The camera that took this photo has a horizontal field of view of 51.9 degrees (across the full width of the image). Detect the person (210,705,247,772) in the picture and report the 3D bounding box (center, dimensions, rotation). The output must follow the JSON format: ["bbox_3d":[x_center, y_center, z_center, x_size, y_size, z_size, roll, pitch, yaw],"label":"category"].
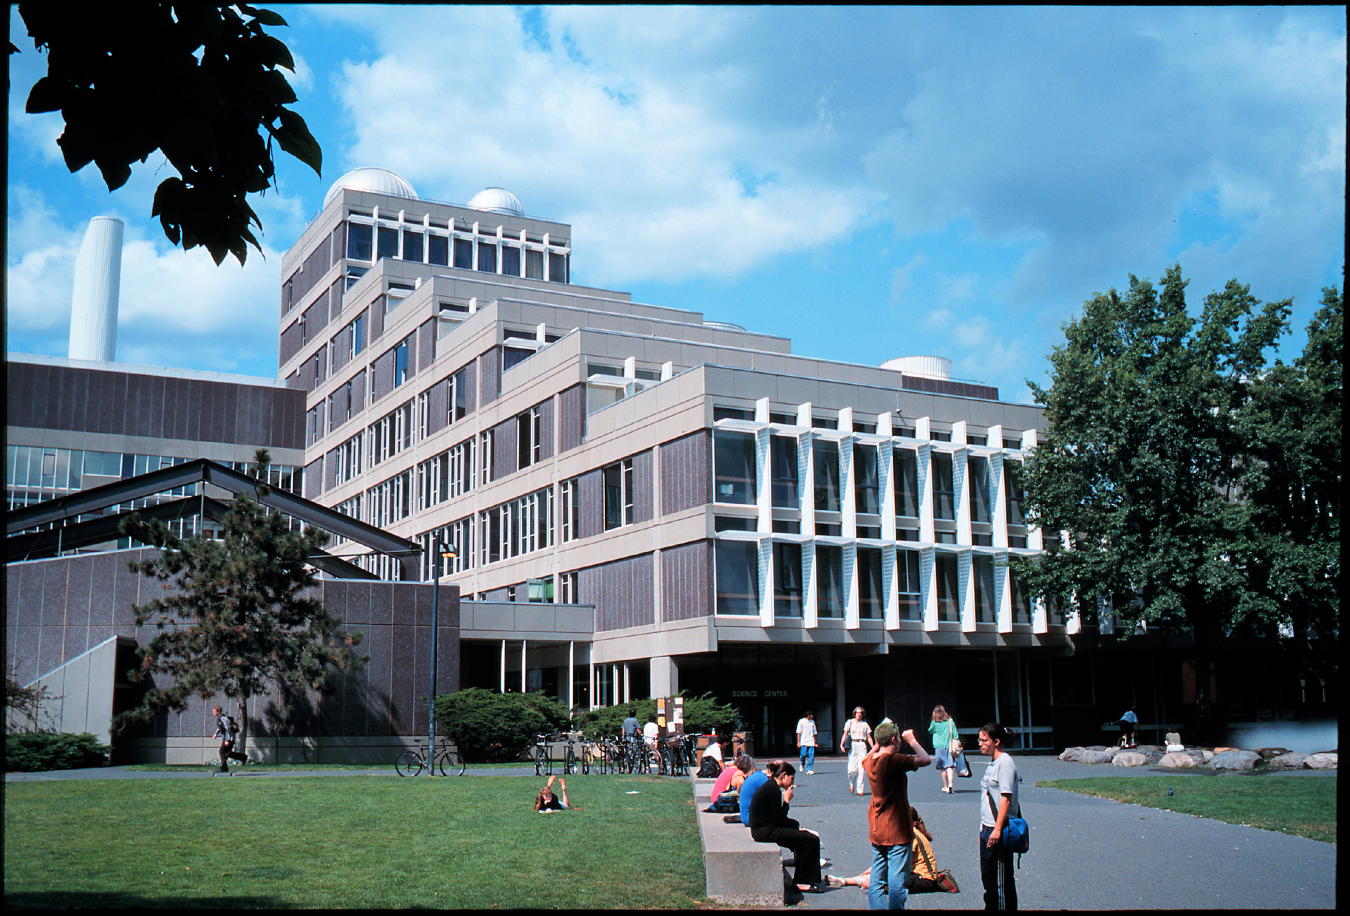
[{"bbox_3d":[-14.757,9.320,46.072,1.252,2.329,1.103,2,-43,-14],"label":"person"}]

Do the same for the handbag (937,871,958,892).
[{"bbox_3d":[4.675,7.198,23.628,0.393,0.327,0.218,10,-18,-37],"label":"handbag"}]

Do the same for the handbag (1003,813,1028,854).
[{"bbox_3d":[5.142,5.618,20.911,0.210,0.524,0.536,-12,-18,37],"label":"handbag"}]
